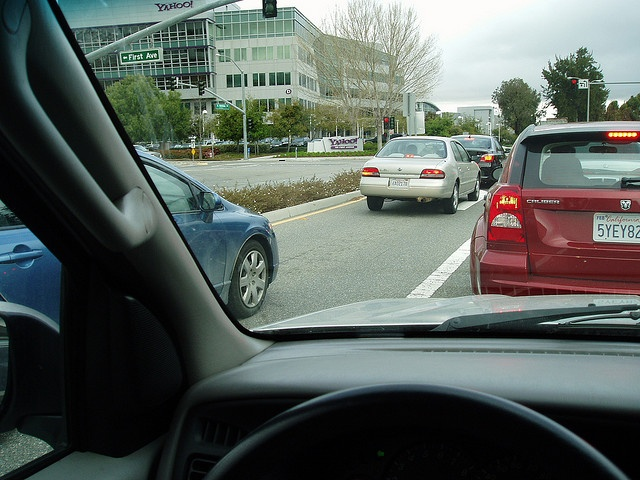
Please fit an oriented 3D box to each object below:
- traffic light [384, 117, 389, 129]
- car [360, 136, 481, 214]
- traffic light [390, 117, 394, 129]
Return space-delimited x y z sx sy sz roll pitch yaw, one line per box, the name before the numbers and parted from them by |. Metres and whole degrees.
traffic light | 4.288 -7.537 37.927 0.320 0.731 0.473 0 19 6
car | 2.186 -1.430 12.417 1.208 0.985 2.835 1 10 22
traffic light | 4.640 -7.610 38.223 0.121 0.756 0.801 6 21 23
